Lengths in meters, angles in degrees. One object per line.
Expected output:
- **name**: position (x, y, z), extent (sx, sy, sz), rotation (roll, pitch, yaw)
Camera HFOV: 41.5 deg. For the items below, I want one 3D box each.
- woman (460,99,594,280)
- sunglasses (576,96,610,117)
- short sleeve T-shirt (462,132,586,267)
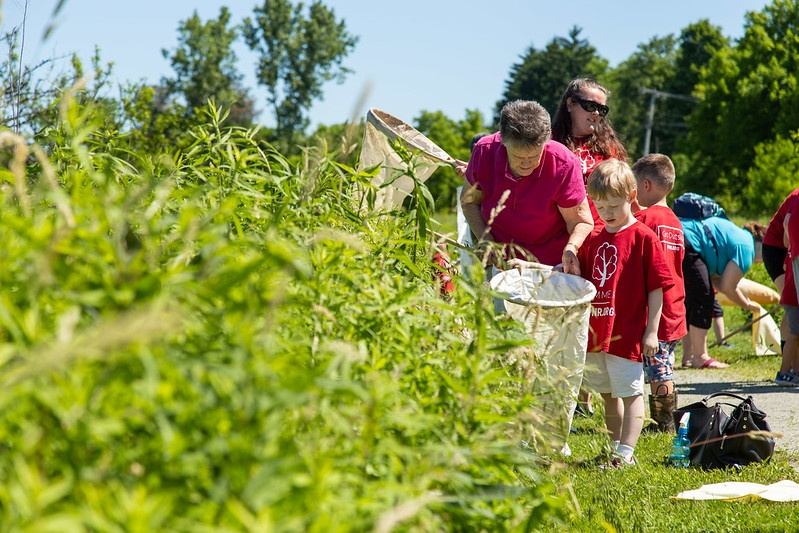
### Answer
- **woman**: position (0.798, -0.434, 6.311), extent (0.646, 0.881, 1.532), rotation (-8, -16, 9)
- **sunglasses**: position (1.290, -1.107, 7.131), extent (0.150, 0.052, 0.152), rotation (13, 13, -42)
- **short sleeve T-shirt**: position (0.752, -0.389, 6.291), extent (0.624, 0.369, 0.634), rotation (18, -37, 21)
